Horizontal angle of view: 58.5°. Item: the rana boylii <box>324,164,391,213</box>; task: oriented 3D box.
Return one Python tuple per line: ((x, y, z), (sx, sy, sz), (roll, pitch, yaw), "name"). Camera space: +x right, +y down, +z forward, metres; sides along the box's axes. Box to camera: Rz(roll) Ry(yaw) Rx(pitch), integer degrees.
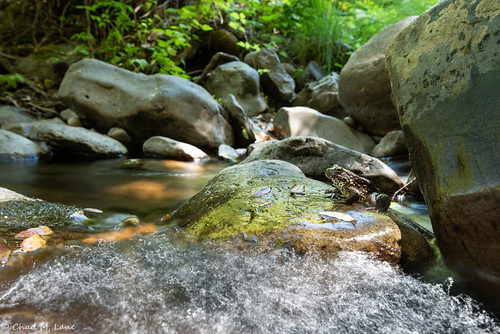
((1.320, 0.185, 5.438), (0.626, 0.272, 0.650), (12, 6, 16), "rana boylii")
